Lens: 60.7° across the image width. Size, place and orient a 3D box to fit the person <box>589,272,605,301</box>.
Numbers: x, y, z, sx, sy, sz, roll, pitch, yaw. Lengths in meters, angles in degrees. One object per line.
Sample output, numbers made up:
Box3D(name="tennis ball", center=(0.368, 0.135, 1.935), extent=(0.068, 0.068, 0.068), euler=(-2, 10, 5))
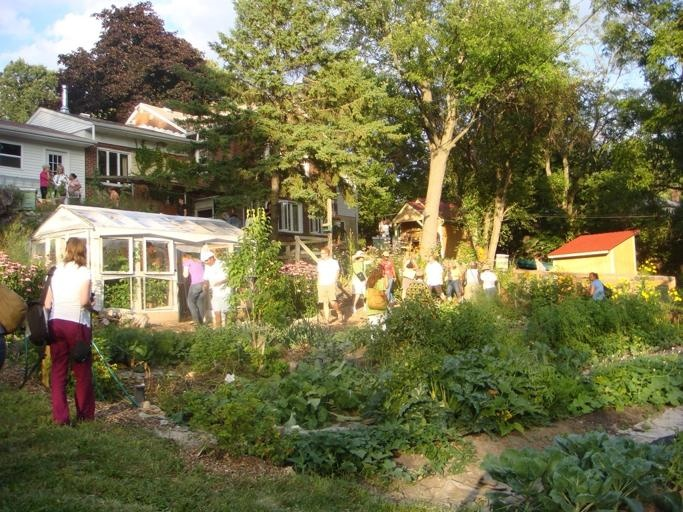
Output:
Box3D(name="person", center=(6.585, 0.800, 15.029), extent=(0.334, 0.801, 2.954), euler=(-1, -7, 23))

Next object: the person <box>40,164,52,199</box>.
Box3D(name="person", center=(-12.187, -2.955, 24.028), extent=(0.373, 1.539, 1.181), euler=(5, -6, -27))

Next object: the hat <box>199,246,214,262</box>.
Box3D(name="hat", center=(-3.742, -0.020, 16.035), extent=(0.336, 0.116, 0.347), euler=(-25, -3, -21))

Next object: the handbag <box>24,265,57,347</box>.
Box3D(name="handbag", center=(-3.885, 0.646, 7.511), extent=(0.290, 1.033, 0.335), euler=(5, -6, -29))

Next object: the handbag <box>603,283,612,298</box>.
Box3D(name="handbag", center=(7.419, 1.003, 16.284), extent=(0.254, 0.357, 0.272), euler=(7, 8, 4))

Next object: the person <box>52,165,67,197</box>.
Box3D(name="person", center=(-11.690, -3.073, 24.241), extent=(0.526, 1.469, 1.148), euler=(5, -6, -26))
